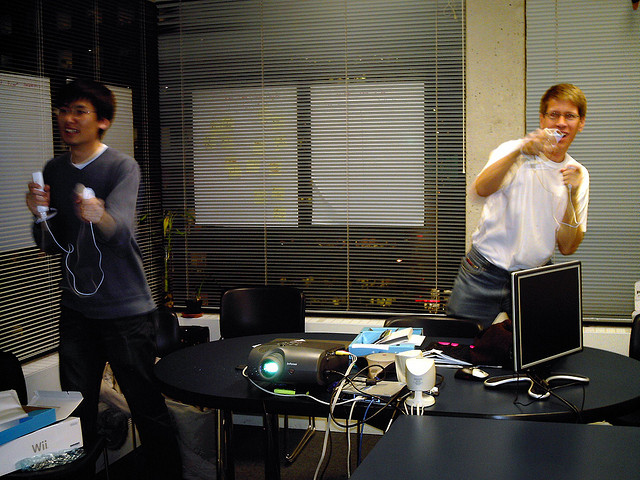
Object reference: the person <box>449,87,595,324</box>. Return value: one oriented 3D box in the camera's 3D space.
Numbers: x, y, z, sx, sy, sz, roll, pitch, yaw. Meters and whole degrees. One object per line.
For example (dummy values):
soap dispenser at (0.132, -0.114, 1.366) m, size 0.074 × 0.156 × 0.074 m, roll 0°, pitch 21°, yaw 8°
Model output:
person at (1.086, -0.140, 2.870) m, size 0.711 × 1.313 × 0.472 m, roll 2°, pitch 14°, yaw 14°

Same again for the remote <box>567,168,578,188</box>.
remote at (1.360, -0.336, 2.862) m, size 0.056 × 0.103 × 0.032 m, roll -13°, pitch 18°, yaw -41°

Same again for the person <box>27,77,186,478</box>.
person at (-1.153, 0.093, 2.742) m, size 0.544 × 1.805 × 0.503 m, roll -8°, pitch 15°, yaw -27°

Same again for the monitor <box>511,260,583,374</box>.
monitor at (0.975, 0.340, 2.277) m, size 0.529 × 0.484 × 0.051 m, roll 0°, pitch -3°, yaw -39°

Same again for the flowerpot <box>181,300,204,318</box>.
flowerpot at (-0.950, 0.523, 4.001) m, size 0.136 × 0.117 × 0.132 m, roll 0°, pitch -7°, yaw 12°

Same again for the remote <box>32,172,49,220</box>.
remote at (-1.405, -0.222, 2.673) m, size 0.053 × 0.235 × 0.040 m, roll -7°, pitch 15°, yaw -24°

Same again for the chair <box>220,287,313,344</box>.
chair at (-0.369, 0.490, 3.483) m, size 0.388 × 0.494 × 0.411 m, roll 0°, pitch -10°, yaw -8°

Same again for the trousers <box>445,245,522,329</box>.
trousers at (0.912, 0.270, 2.924) m, size 0.428 × 0.535 × 0.204 m, roll 7°, pitch 13°, yaw -2°

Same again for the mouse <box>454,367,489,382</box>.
mouse at (0.659, 0.585, 2.321) m, size 0.107 × 0.033 × 0.063 m, roll -2°, pitch 9°, yaw 23°
